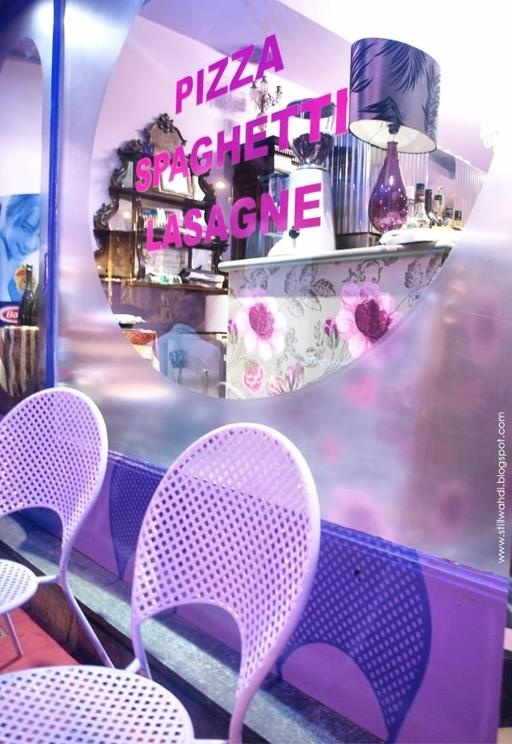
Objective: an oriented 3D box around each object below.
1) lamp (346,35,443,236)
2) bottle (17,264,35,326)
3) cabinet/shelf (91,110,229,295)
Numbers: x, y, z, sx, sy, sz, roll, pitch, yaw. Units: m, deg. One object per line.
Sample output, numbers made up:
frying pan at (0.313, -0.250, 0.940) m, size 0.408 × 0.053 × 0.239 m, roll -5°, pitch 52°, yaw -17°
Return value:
lamp at (0.276, -0.456, 1.120) m, size 0.139 × 0.344 × 0.135 m, roll 3°, pitch 14°, yaw 4°
bottle at (-1.057, -0.348, 2.528) m, size 0.056 × 0.274 × 0.197 m, roll -5°, pitch 14°, yaw -30°
cabinet/shelf at (-0.275, -0.504, 1.673) m, size 0.419 × 0.487 × 0.107 m, roll -4°, pitch 12°, yaw -33°
